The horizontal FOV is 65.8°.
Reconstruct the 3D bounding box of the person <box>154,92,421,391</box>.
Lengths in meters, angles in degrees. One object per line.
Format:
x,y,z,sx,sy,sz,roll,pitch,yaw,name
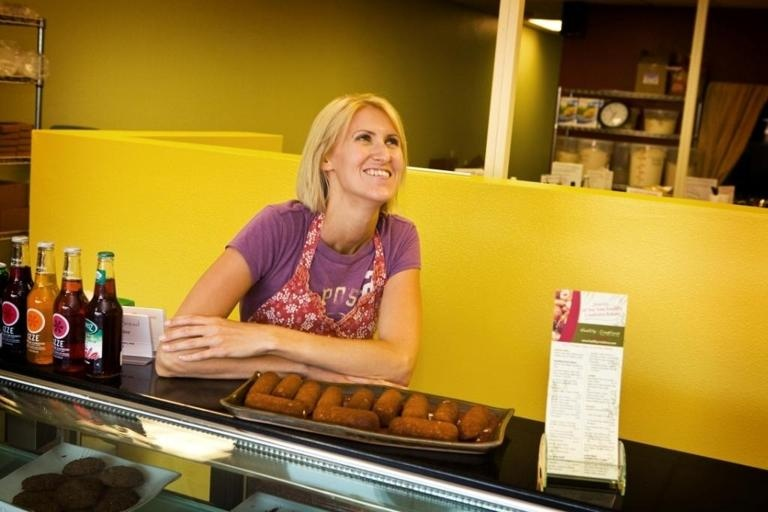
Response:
-0.238,-0.071,1.847,0.808,0.899,0.498,2,9,-12,person

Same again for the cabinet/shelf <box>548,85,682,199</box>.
1.598,-0.761,4.052,0.948,0.837,0.329,7,-6,28,cabinet/shelf

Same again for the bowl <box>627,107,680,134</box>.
1.845,-0.928,4.124,0.112,0.197,0.367,-2,10,-31,bowl
